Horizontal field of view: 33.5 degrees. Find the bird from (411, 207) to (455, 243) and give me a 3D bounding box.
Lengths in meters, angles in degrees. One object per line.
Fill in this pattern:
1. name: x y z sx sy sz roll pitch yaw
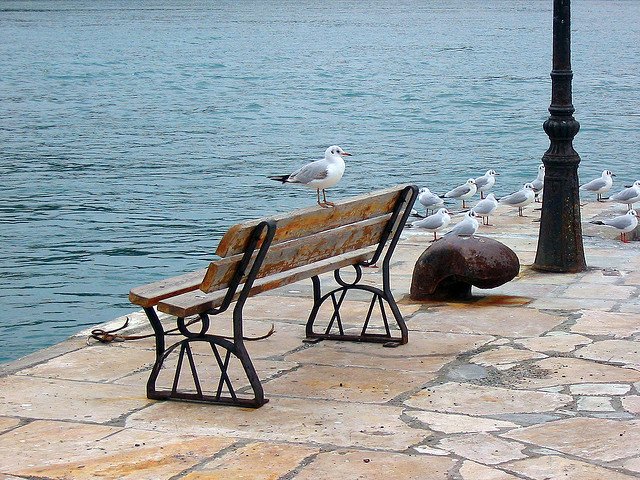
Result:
1. bird: 1.774 -0.295 16.206 1.090 0.420 0.368 -2 3 5
